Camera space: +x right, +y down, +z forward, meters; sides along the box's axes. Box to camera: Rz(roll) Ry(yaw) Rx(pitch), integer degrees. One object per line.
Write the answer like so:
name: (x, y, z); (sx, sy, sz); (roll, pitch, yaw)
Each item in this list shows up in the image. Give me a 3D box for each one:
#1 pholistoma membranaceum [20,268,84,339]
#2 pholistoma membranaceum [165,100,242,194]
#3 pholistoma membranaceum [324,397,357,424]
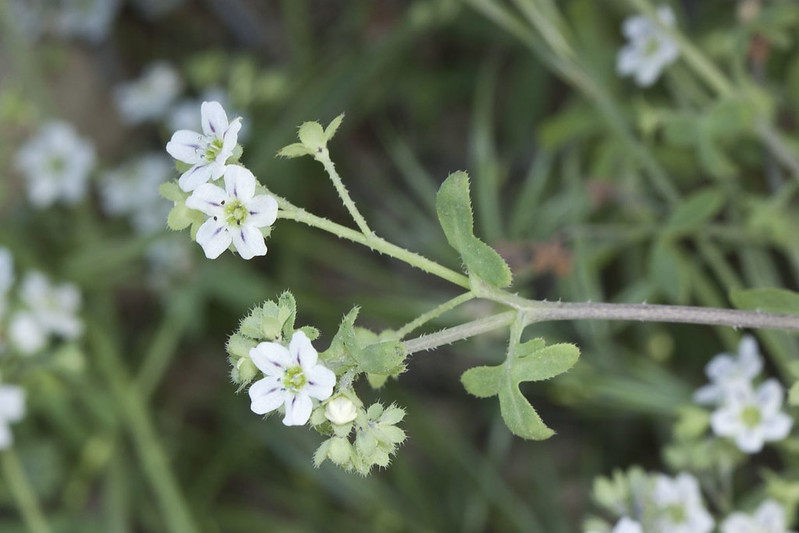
pholistoma membranaceum: (-0.872, 0.099, 2.054); (0.136, 0.173, 0.114); (-2, -3, -25)
pholistoma membranaceum: (-0.339, -0.216, 1.478); (0.138, 0.166, 0.072); (-28, -24, 37)
pholistoma membranaceum: (-0.101, 0.252, 1.417); (0.044, 0.050, 0.030); (-4, -5, 2)
